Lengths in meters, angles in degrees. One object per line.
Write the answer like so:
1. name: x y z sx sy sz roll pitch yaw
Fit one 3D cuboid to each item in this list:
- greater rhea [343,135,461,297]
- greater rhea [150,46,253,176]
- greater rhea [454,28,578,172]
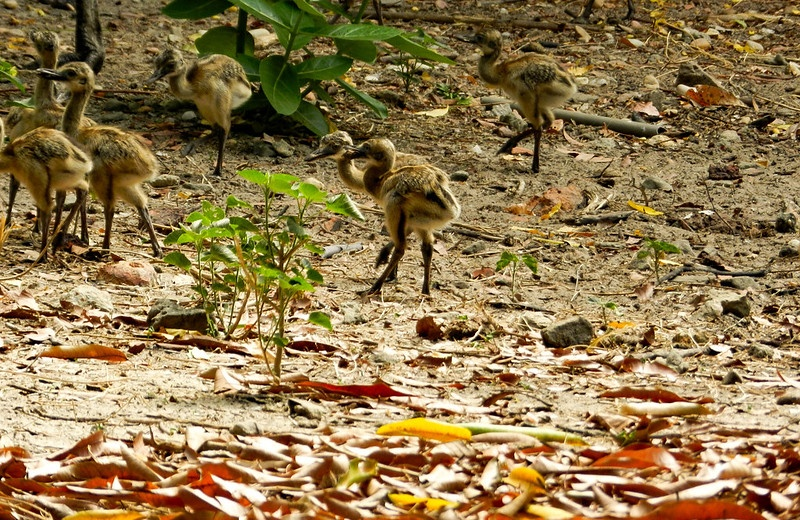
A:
1. greater rhea: 0.012 -0.351 8.589 0.801 1.218 0.985 10 10 -10
2. greater rhea: -1.976 -1.423 10.149 0.953 1.169 0.592 10 12 -8
3. greater rhea: 1.322 -1.670 11.089 0.482 1.451 1.311 6 11 -33
